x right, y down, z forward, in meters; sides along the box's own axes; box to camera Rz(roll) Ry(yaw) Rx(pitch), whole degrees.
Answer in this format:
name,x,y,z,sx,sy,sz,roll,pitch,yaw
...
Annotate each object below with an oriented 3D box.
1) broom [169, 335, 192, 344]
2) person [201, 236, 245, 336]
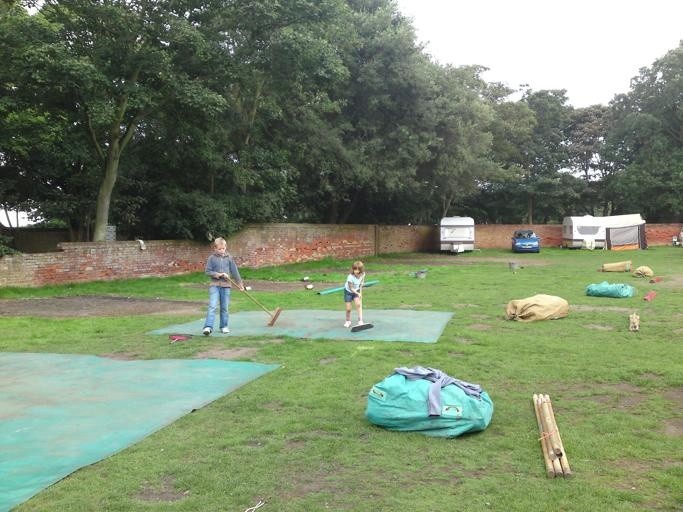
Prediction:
name,x,y,z,sx,sy,sz,roll,pitch,yaw
broom,-3.234,1.675,12.331,0.433,0.061,0.396,-4,12,-16
person,-2.693,0.637,13.548,0.892,2.086,0.707,0,0,40
